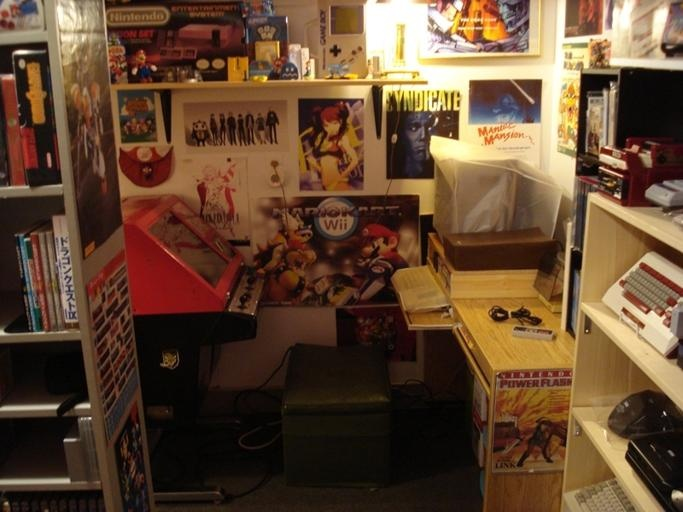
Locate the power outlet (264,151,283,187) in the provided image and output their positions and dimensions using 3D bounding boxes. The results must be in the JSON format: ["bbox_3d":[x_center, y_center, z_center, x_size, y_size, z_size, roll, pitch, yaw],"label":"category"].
[{"bbox_3d":[-0.393,-0.495,3.198,0.102,0.157,0.037,-2,10,0],"label":"power outlet"}]

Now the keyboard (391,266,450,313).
[{"bbox_3d":[0.431,0.188,3.036,0.269,0.083,0.498,-10,22,-3],"label":"keyboard"}]

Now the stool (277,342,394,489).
[{"bbox_3d":[-0.027,0.802,2.964,0.552,0.496,0.762,1,16,1],"label":"stool"}]
